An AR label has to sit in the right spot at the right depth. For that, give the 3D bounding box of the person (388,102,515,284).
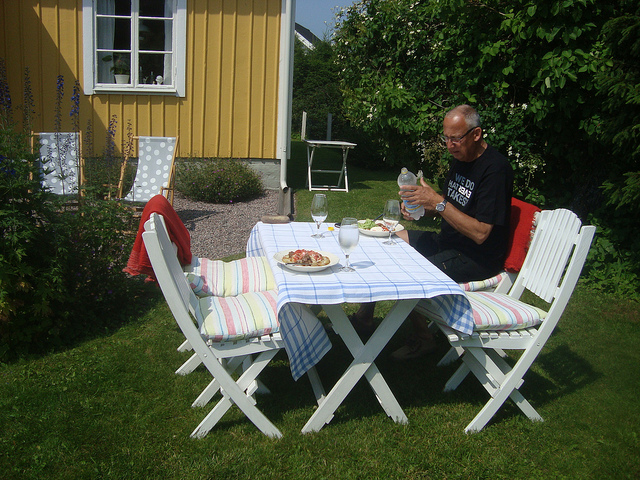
[{"bbox_3d":[1.177,-0.141,4.783,1.033,1.943,0.982,-9,22,-8],"label":"person"}]

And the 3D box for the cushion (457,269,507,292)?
[{"bbox_3d":[1.371,0.367,4.497,0.246,0.073,0.277,-5,11,-4],"label":"cushion"}]

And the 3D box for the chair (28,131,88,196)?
[{"bbox_3d":[-3.063,-0.858,6.271,0.466,0.936,0.674,18,19,40],"label":"chair"}]

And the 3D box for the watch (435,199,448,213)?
[{"bbox_3d":[0.988,-0.290,4.385,0.059,0.102,0.089,31,-3,8],"label":"watch"}]

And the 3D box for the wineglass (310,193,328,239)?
[{"bbox_3d":[-0.010,-0.197,4.325,0.121,0.400,0.398,-1,13,-2],"label":"wineglass"}]

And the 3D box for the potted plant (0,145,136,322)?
[{"bbox_3d":[-2.333,-0.077,4.799,0.540,1.538,1.281,5,14,25],"label":"potted plant"}]

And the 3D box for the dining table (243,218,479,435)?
[{"bbox_3d":[0.263,0.445,4.149,1.225,1.129,2.028,-3,18,-10],"label":"dining table"}]

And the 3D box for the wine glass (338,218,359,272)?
[{"bbox_3d":[0.204,0.025,3.889,0.137,0.347,0.317,1,13,4],"label":"wine glass"}]

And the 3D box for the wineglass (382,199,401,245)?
[{"bbox_3d":[0.586,-0.163,4.405,0.131,0.380,0.312,1,13,7],"label":"wineglass"}]

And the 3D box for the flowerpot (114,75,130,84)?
[{"bbox_3d":[-3.426,-2.796,9.268,0.157,0.134,0.169,-11,31,-25],"label":"flowerpot"}]

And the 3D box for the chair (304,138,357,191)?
[{"bbox_3d":[0.161,-1.624,11.966,0.982,1.176,1.747,0,11,-12],"label":"chair"}]

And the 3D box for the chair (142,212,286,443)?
[{"bbox_3d":[-0.720,0.497,4.481,1.228,1.991,1.341,-2,14,-11],"label":"chair"}]

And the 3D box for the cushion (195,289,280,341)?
[{"bbox_3d":[-0.626,0.533,3.900,0.416,0.134,0.430,-7,25,-17],"label":"cushion"}]

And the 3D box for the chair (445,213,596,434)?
[{"bbox_3d":[1.466,0.559,4.245,1.105,1.638,1.130,-2,9,-16],"label":"chair"}]

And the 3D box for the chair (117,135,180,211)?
[{"bbox_3d":[-2.388,-0.870,7.581,0.682,1.110,0.993,3,15,-14],"label":"chair"}]
